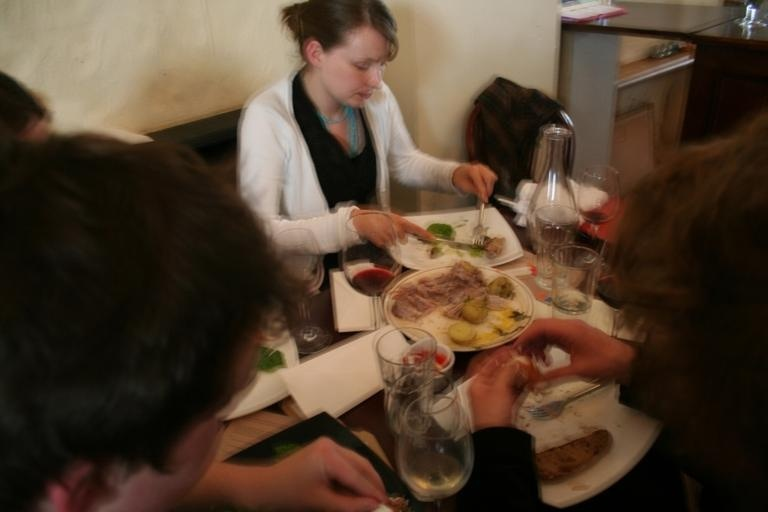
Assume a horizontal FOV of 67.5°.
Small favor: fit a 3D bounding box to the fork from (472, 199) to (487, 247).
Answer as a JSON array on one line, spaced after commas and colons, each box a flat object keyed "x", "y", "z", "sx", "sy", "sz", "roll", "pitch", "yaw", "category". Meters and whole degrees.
[{"x": 0.296, "y": -0.099, "z": 1.791, "sx": 0.029, "sy": 0.025, "sz": 0.215, "roll": 12, "pitch": 33, "yaw": 6, "category": "fork"}]

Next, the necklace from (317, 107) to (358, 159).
[{"x": -0.174, "y": -0.535, "z": 2.474, "sx": 0.136, "sy": 0.195, "sz": 0.070, "roll": -9, "pitch": 8, "yaw": -16, "category": "necklace"}]

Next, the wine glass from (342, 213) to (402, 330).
[{"x": -0.026, "y": 0.031, "z": 1.507, "sx": 0.183, "sy": 0.194, "sz": 0.421, "roll": -6, "pitch": 9, "yaw": -4, "category": "wine glass"}]
